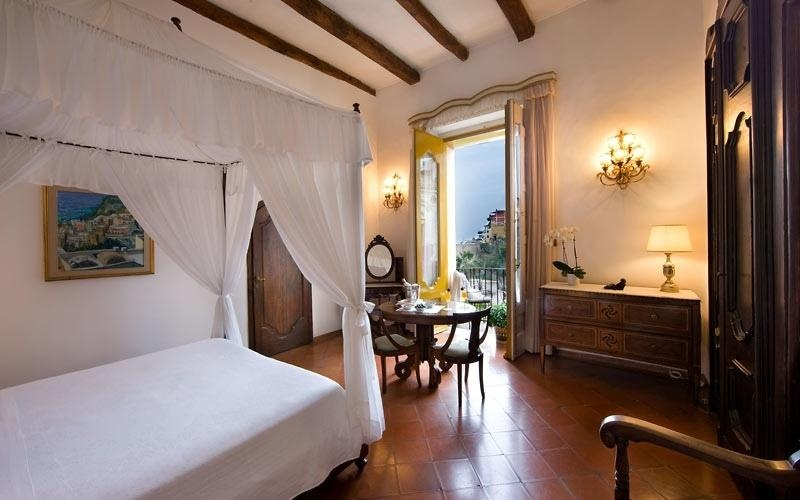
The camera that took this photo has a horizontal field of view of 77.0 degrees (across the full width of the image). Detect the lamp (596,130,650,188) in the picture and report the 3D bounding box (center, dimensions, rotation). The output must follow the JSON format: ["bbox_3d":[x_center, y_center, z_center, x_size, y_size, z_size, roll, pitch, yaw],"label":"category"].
[{"bbox_3d":[2.629,-1.061,5.880,0.666,0.733,0.236,-6,-9,44],"label":"lamp"}]

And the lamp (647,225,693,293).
[{"bbox_3d":[2.943,0.099,5.496,0.395,0.739,0.439,0,1,30],"label":"lamp"}]

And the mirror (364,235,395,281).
[{"bbox_3d":[-0.316,0.137,7.636,0.482,0.682,0.035,0,0,20],"label":"mirror"}]

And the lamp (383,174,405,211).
[{"bbox_3d":[-0.089,-0.893,7.852,0.139,0.578,0.388,-1,1,-40],"label":"lamp"}]

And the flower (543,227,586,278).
[{"bbox_3d":[2.021,0.043,6.157,0.477,0.639,0.398,0,1,19],"label":"flower"}]

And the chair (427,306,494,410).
[{"bbox_3d":[0.659,1.142,5.586,0.593,0.971,0.610,-3,6,-19],"label":"chair"}]

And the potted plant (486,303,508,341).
[{"bbox_3d":[1.458,1.039,7.372,0.479,0.528,0.523,-1,2,11],"label":"potted plant"}]

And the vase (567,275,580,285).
[{"bbox_3d":[2.077,0.361,6.003,0.130,0.106,0.104,-3,3,-12],"label":"vase"}]

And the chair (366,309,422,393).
[{"bbox_3d":[-0.102,1.090,5.734,0.568,0.841,0.564,-1,5,-13],"label":"chair"}]
